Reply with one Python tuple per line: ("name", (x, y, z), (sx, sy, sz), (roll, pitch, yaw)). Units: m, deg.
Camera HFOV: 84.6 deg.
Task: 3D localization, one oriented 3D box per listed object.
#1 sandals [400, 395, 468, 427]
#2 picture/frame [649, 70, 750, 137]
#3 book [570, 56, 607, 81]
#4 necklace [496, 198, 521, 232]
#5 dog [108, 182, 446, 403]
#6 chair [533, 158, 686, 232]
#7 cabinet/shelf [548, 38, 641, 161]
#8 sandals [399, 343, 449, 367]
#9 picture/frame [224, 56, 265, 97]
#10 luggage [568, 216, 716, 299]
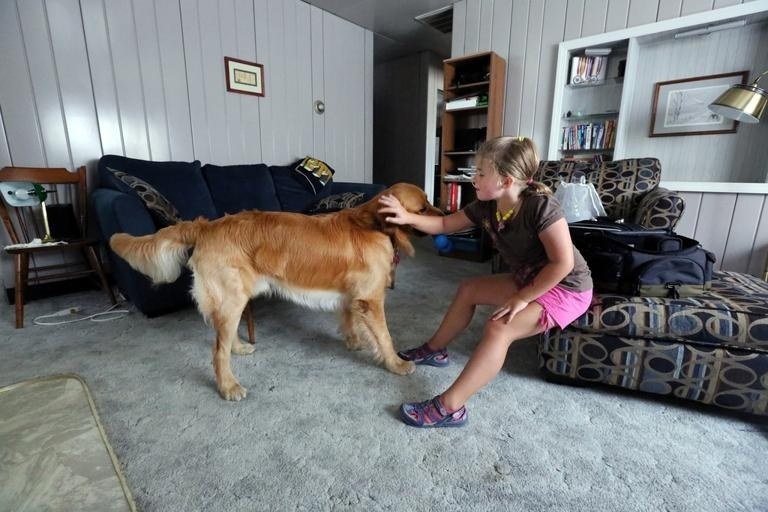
("sandals", (0.267, 0.877, 2.467), (0.382, 0.175, 0.163), (3, 7, -2))
("picture/frame", (2.905, -1.410, 3.882), (0.700, 0.578, 0.048), (5, 5, 31))
("book", (2.071, -1.923, 4.345), (0.301, 0.288, 0.074), (12, 16, 21))
("necklace", (0.691, -0.228, 2.423), (0.039, 0.128, 0.093), (50, 35, 11))
("dog", (-0.623, 0.197, 2.693), (2.008, 1.127, 0.703), (-4, 15, -6))
("chair", (1.703, -0.470, 3.267), (0.671, 0.475, 0.392), (12, 16, 26))
("cabinet/shelf", (2.096, -1.609, 4.321), (0.723, 1.197, 0.417), (7, 20, 26))
("sandals", (0.259, 0.665, 2.843), (0.305, 0.136, 0.139), (11, -4, 0))
("picture/frame", (-1.499, -1.907, 4.471), (0.495, 0.413, 0.038), (-6, 13, -42))
("luggage", (1.582, 0.008, 2.599), (0.609, 0.282, 0.479), (0, 16, 0))
